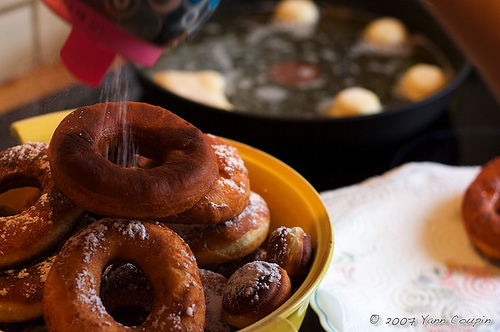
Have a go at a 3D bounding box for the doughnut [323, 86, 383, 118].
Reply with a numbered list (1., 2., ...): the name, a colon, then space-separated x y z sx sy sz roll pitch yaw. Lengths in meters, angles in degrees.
1. doughnut: 0.356 -0.224 1.743 0.193 0.211 0.051 2 71 -1

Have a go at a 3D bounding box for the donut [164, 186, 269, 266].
1. donut: -0.065 0.200 1.420 0.310 0.311 0.102 -21 91 -41

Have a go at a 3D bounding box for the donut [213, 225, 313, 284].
1. donut: 0.060 0.174 1.242 0.160 0.056 0.160 -27 40 -15

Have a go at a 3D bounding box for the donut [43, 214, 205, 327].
1. donut: -0.277 0.223 1.136 0.351 0.180 0.283 2 58 -5

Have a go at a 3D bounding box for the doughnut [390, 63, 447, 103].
1. doughnut: 0.625 -0.315 1.870 0.186 0.089 0.157 -24 45 -6

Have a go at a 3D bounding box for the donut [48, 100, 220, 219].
1. donut: -0.273 -0.008 1.182 0.353 0.151 0.319 -21 63 -18

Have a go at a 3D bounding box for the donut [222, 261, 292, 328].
1. donut: 0.009 0.289 1.170 0.158 0.062 0.124 -24 64 -19
